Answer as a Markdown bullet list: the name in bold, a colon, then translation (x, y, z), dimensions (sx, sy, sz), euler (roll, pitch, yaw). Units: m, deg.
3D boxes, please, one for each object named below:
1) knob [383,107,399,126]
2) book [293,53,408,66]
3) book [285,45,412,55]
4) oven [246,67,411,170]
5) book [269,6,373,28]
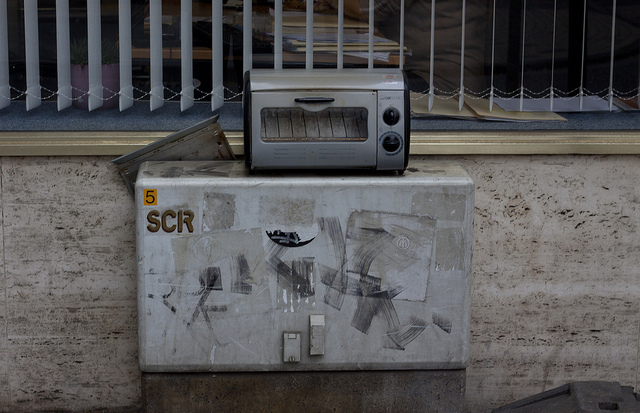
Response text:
- **knob**: translation (0.292, -0.370, 4.677), dimensions (0.068, 0.067, 0.018), euler (3, 6, 0)
- **book**: translation (0.165, -0.671, 5.243), dimensions (0.557, 0.052, 0.249), euler (-2, 1, -10)
- **book**: translation (0.113, -0.715, 5.232), dimensions (0.359, 0.053, 0.015), euler (-1, 1, -3)
- **oven**: translation (0.042, -0.340, 4.798), dimensions (0.679, 0.413, 0.316), euler (0, 0, -1)
- **book**: translation (0.004, -0.865, 5.228), dimensions (0.454, 0.089, 0.198), euler (-2, 1, -4)
